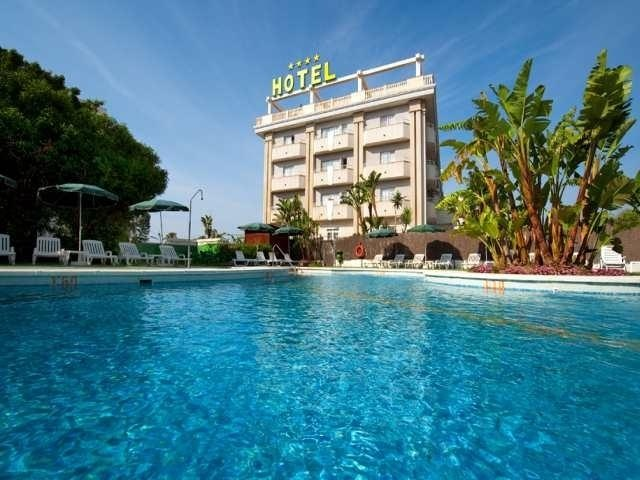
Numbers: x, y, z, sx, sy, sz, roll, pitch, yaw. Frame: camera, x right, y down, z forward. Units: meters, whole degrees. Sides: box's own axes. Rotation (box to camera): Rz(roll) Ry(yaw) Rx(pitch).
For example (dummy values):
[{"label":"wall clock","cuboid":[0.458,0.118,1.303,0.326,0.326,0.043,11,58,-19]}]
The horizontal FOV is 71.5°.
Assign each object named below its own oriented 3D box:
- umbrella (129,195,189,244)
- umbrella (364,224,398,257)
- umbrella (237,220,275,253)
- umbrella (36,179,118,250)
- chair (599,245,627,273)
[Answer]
[{"label":"umbrella","cuboid":[-7.611,-0.848,21.078,2.477,2.398,2.507,-4,4,-36]},{"label":"umbrella","cuboid":[4.967,-0.019,34.901,2.261,2.032,2.347,-1,2,9]},{"label":"umbrella","cuboid":[-4.382,-0.413,31.619,2.156,1.925,4.730,-1,13,-4]},{"label":"umbrella","cuboid":[-10.324,-0.833,19.054,2.722,3.021,2.623,-2,-11,-33]},{"label":"chair","cuboid":[13.108,0.828,20.014,0.976,1.671,1.103,-1,-9,20]}]
